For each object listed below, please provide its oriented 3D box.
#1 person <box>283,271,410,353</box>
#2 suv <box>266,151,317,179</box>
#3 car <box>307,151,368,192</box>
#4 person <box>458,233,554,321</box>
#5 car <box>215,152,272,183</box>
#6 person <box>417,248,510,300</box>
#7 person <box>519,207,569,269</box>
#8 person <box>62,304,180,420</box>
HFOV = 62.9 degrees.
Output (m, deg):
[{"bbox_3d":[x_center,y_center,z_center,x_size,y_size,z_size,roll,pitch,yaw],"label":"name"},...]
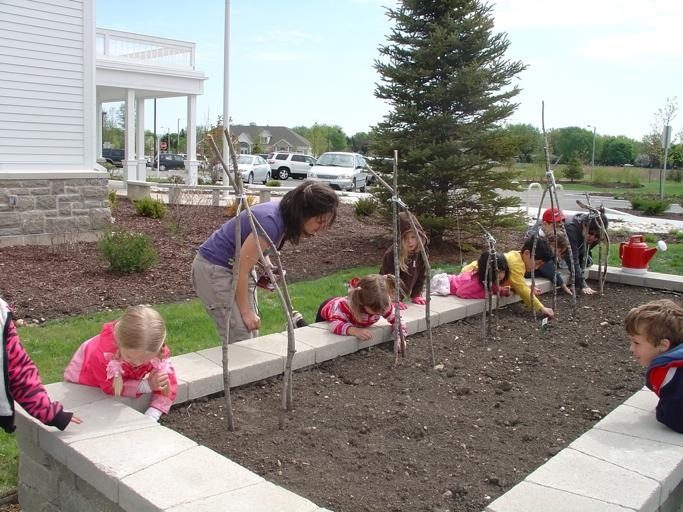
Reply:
[{"bbox_3d":[0.157,0.408,4.743,0.524,0.485,0.714,-5,12,-31],"label":"person"},{"bbox_3d":[-2.646,-5.100,31.156,2.967,1.292,1.452,-7,17,-19],"label":"suv"},{"bbox_3d":[-0.136,-3.436,22.985,1.933,1.602,2.918,3,11,16],"label":"car"},{"bbox_3d":[1.828,0.148,5.918,1.003,0.508,0.642,19,20,34],"label":"person"},{"bbox_3d":[-4.023,-3.970,25.351,1.143,1.336,3.882,-1,11,-4],"label":"car"},{"bbox_3d":[1.317,0.180,5.765,0.798,0.378,0.445,-1,3,41],"label":"person"},{"bbox_3d":[2.519,-0.111,6.636,0.488,0.894,0.357,-6,-3,45],"label":"person"},{"bbox_3d":[-1.397,0.526,3.528,0.471,0.526,0.815,-2,24,-30],"label":"person"}]
